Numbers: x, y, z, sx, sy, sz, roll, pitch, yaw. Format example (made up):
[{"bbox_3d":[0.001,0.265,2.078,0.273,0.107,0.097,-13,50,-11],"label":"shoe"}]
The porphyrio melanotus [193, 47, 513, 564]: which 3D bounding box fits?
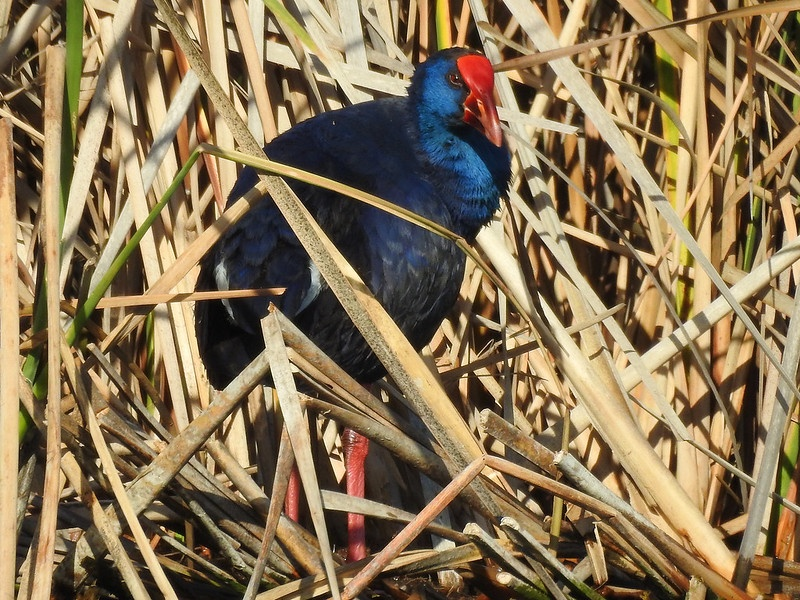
[{"bbox_3d":[-0.176,-0.005,4.044,0.986,1.675,0.767,6,-1,-20],"label":"porphyrio melanotus"}]
